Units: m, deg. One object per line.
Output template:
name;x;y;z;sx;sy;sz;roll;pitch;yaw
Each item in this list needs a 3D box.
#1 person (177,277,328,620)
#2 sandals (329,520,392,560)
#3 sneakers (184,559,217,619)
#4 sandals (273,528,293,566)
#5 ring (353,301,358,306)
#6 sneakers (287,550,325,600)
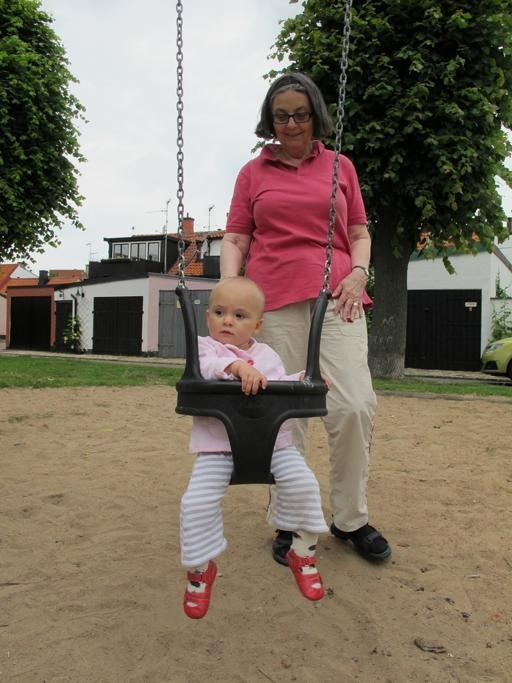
person;-0.018;0.344;2.218;0.447;1.087;0.524;1;4;-6
sandals;0.413;0.771;2.816;0.102;0.112;0.283;-11;5;-37
sneakers;-0.162;0.699;2.044;0.070;0.076;0.182;-5;25;11
sandals;0.098;0.778;2.727;0.070;0.076;0.198;2;9;-1
ring;0.359;-0.138;2.565;0.015;0.013;0.005;8;-5;-44
sneakers;0.141;0.699;2.130;0.094;0.141;0.192;1;3;-1
